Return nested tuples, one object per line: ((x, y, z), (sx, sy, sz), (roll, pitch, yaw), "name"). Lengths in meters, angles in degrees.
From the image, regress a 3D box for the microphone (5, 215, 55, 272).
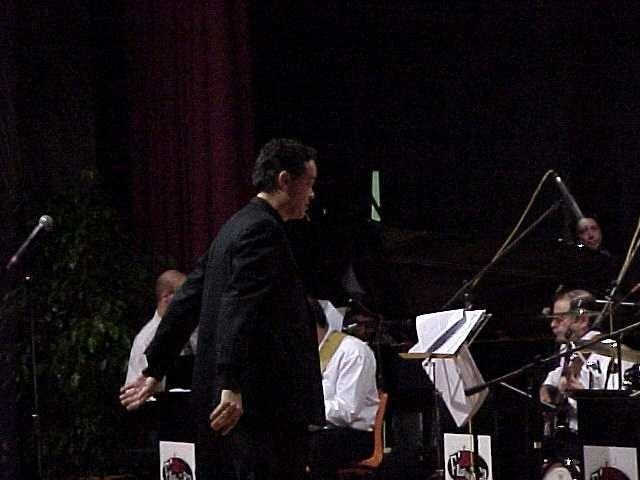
((-1.858, 0.020, 4.775), (0.094, 0.368, 0.104), (34, 4, -12), "microphone")

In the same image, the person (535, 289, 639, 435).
((1.404, 0.621, 3.960), (0.413, 1.205, 0.423), (6, -19, -1), "person")

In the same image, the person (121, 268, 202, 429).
((-1.061, 0.546, 5.006), (0.539, 1.030, 1.202), (-1, 0, 4), "person")
